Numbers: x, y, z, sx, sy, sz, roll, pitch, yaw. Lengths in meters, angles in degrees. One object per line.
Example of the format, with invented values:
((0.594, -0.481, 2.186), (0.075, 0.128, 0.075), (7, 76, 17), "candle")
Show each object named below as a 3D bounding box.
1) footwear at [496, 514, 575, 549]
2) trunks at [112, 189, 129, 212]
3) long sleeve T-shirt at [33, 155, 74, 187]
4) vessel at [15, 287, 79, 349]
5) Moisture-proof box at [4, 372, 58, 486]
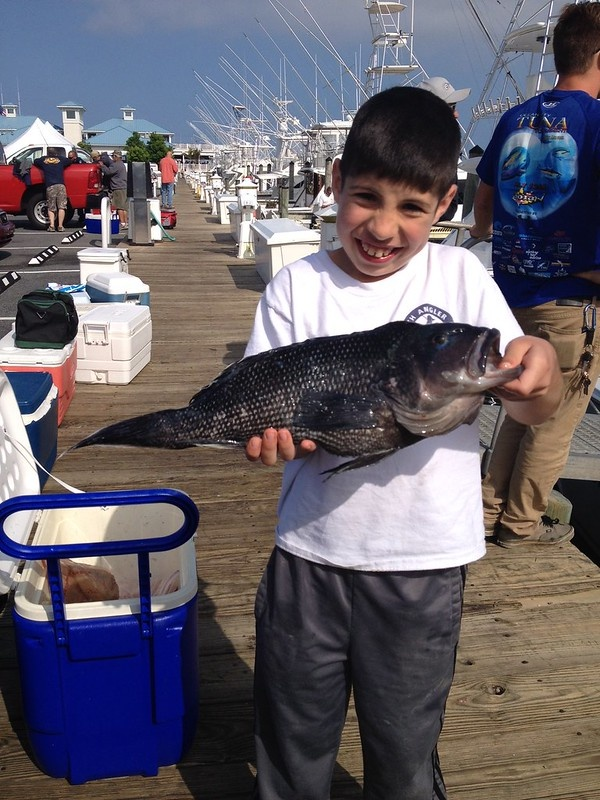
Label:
((1.085, 0.603, 3.648), (0.381, 0.146, 0.130), (-5, 22, -11), "footwear")
((-3.971, -4.350, 17.112), (0.272, 0.460, 0.799), (-1, 15, -15), "trunks")
((-4.946, -4.553, 15.622), (0.663, 0.668, 0.266), (-2, 23, -11), "long sleeve T-shirt")
((-1.540, -0.467, 4.787), (0.428, 0.362, 0.377), (0, -1, -13), "vessel")
((-1.282, 0.174, 3.756), (0.223, 0.540, 0.680), (-2, 16, -18), "Moisture-proof box")
